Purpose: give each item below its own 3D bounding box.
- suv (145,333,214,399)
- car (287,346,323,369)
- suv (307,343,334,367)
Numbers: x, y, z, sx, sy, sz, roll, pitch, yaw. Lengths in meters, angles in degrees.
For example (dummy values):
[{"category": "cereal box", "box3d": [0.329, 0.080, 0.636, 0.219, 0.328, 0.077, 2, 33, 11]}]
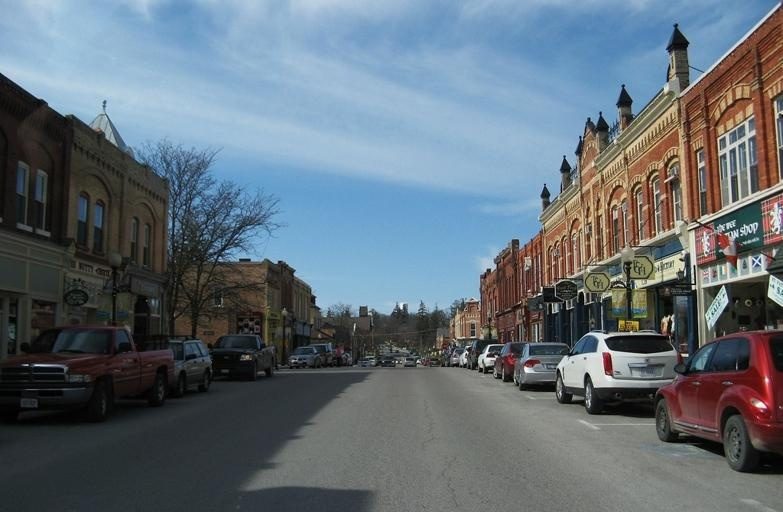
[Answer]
[{"category": "suv", "box3d": [-7.943, 4.065, 24.932, 1.650, 2.019, 4.054, -2, -7, 3]}, {"category": "car", "box3d": [-6.473, 7.661, 51.529, 1.777, 2.080, 3.407, -1, -15, 12]}, {"category": "suv", "box3d": [-5.878, 8.120, 56.092, 1.446, 1.398, 2.629, -2, -21, 4]}]
